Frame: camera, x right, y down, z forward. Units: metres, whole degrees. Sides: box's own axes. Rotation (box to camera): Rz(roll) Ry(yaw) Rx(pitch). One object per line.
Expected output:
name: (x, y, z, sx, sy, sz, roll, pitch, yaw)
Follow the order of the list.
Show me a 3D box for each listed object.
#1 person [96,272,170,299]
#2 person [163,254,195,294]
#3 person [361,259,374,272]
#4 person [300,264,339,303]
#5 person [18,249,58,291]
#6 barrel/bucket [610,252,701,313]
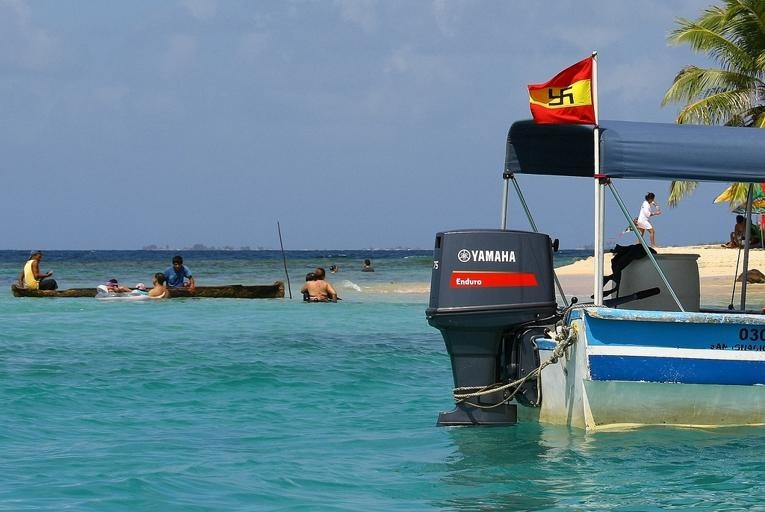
person: (-7.387, 0.769, 30.830, 1.725, 0.472, 1.122, 1, -4, 5)
person: (-6.009, 0.579, 30.324, 0.973, 1.015, 0.732, -2, 18, -15)
person: (-0.995, 0.660, 65.973, 0.933, 0.740, 0.439, 1, -1, -9)
person: (-1.860, 0.887, 30.372, 0.976, 1.077, 1.127, -1, 8, -3)
person: (-10.731, 0.390, 32.205, 1.050, 1.286, 2.844, -3, 7, -18)
barrel/bucket: (3.810, 0.361, 14.737, 0.949, 0.861, 1.192, -1, 1, -30)
